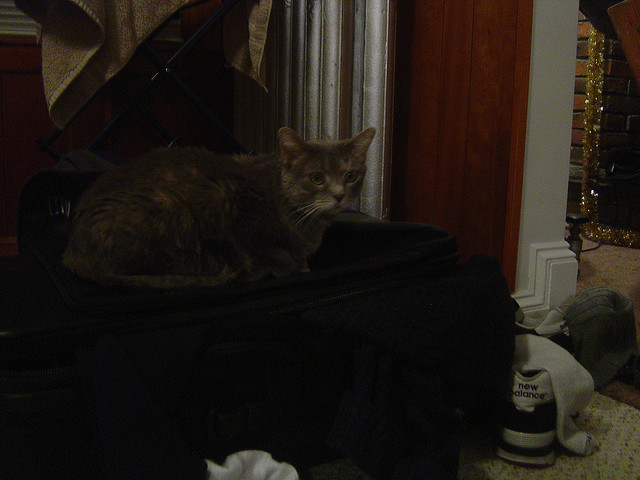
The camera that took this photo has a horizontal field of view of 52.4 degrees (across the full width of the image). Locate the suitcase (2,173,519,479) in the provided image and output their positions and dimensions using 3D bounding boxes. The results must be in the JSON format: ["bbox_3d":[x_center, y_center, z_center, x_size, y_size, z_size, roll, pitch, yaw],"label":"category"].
[{"bbox_3d":[-0.122,0.190,1.354,0.986,0.484,0.346,-5,9,-13],"label":"suitcase"}]

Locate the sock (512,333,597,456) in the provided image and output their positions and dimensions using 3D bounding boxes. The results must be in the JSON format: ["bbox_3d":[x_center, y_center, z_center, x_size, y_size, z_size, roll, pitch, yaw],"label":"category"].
[{"bbox_3d":[0.548,0.314,1.551,0.170,0.321,0.234,12,17,21],"label":"sock"}]

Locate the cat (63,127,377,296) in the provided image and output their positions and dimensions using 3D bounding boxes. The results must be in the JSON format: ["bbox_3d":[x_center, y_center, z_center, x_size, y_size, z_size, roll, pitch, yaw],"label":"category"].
[{"bbox_3d":[-0.211,-0.131,1.346,0.501,0.297,0.304,-8,13,-18],"label":"cat"}]

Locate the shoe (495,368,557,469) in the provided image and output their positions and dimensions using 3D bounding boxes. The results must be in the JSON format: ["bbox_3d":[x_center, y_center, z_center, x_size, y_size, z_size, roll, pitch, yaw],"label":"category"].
[{"bbox_3d":[0.530,0.397,1.637,0.155,0.226,0.435,0,0,20],"label":"shoe"}]
